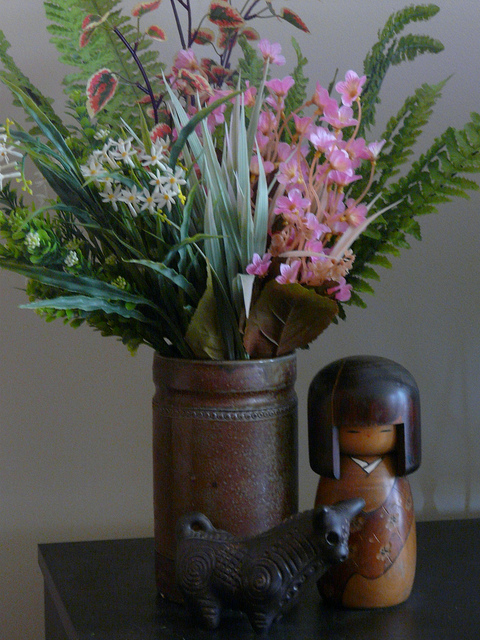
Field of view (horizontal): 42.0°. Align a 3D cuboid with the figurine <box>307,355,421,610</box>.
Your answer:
[{"bbox_3d":[0.115,0.146,0.587,0.106,0.215,0.099,0,-3,9],"label":"figurine"}]

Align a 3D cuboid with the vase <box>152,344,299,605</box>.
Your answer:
[{"bbox_3d":[-0.012,0.147,0.598,0.137,0.208,0.135,2,-3,-41],"label":"vase"}]
